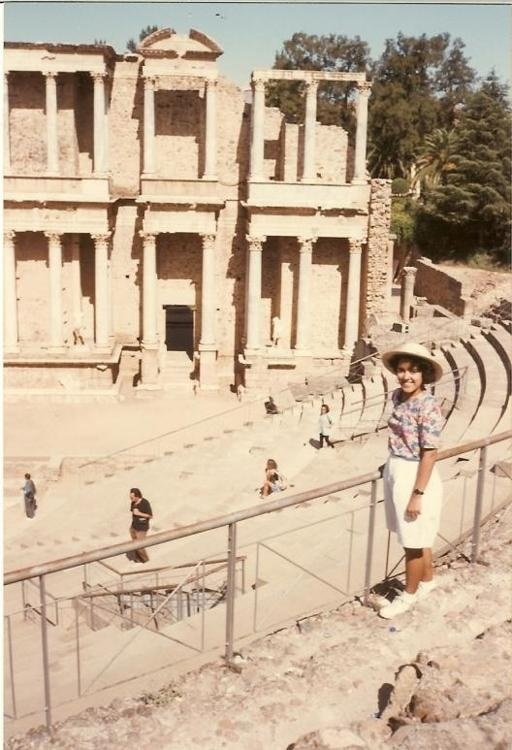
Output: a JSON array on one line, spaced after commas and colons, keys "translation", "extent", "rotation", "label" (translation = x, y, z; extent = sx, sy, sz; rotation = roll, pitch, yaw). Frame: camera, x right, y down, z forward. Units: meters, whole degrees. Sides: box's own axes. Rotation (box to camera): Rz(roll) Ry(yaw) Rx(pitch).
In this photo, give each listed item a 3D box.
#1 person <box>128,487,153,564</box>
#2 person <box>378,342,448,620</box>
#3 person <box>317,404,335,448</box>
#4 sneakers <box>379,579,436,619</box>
[{"translation": [-1.805, 2.301, 13.882], "extent": [0.297, 1.246, 0.896], "rotation": [2, 9, -8], "label": "person"}, {"translation": [0.918, 0.608, 5.303], "extent": [0.389, 1.582, 0.554], "rotation": [5, 10, 9], "label": "person"}, {"translation": [1.409, 0.978, 17.838], "extent": [0.312, 0.918, 1.017], "rotation": [4, 9, 5], "label": "person"}, {"translation": [0.876, 1.332, 5.334], "extent": [0.453, 0.147, 0.128], "rotation": [-10, -20, -30], "label": "sneakers"}]
